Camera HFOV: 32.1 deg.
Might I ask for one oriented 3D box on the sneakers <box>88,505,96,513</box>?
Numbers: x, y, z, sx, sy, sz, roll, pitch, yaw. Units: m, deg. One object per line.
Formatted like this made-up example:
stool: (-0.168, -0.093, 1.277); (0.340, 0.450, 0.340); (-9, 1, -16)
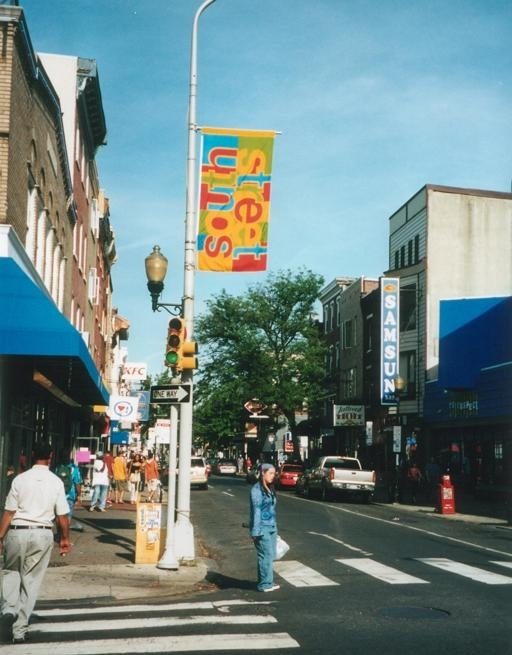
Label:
sneakers: (-4.225, 4.663, 22.998); (0.103, 0.179, 0.174); (-1, -23, 3)

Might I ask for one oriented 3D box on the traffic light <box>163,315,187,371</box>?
traffic light: (-1.128, 0.195, 12.557); (0.275, 0.770, 0.515); (2, -12, -6)

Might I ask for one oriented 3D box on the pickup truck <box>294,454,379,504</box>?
pickup truck: (2.739, 5.105, 30.109); (1.224, 1.163, 3.043); (3, -7, -11)

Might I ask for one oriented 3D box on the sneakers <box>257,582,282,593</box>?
sneakers: (0.168, 3.117, 10.707); (0.281, 0.089, 0.239); (4, -14, -11)

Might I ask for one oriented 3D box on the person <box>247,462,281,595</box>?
person: (0.104, 2.449, 11.030); (0.359, 1.547, 0.896); (1, -12, 0)

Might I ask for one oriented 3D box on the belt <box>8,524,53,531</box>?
belt: (-2.081, 1.840, 8.247); (0.314, 0.046, 0.134); (2, -13, -6)

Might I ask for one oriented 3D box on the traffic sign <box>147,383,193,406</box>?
traffic sign: (-1.236, 0.943, 12.835); (0.619, 0.315, 0.418); (-1, -13, 9)
